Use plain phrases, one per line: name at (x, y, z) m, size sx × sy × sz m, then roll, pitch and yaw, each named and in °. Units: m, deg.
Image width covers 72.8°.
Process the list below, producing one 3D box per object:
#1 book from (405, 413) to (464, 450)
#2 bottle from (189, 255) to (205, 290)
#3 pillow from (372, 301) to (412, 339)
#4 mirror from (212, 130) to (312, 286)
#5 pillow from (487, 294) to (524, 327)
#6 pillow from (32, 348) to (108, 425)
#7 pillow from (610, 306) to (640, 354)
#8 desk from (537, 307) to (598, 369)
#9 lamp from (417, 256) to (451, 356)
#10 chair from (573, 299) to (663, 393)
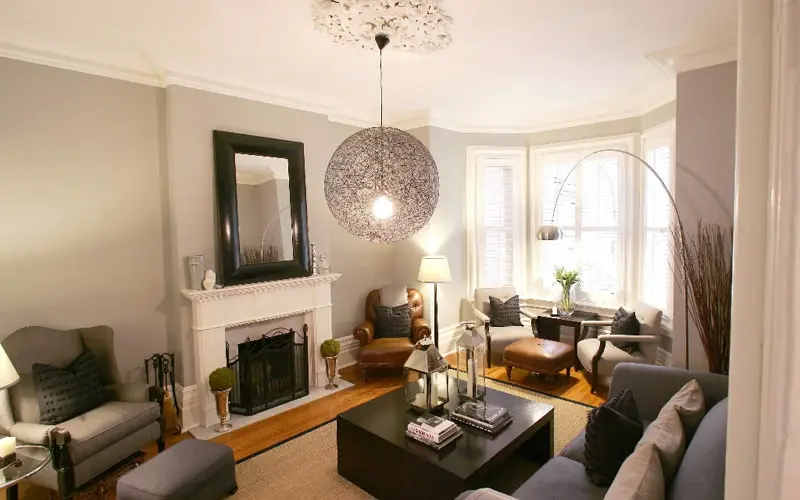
book at (0.324, 1.571, 4.793) m, size 0.278 × 0.073 × 0.312 m, roll 6°, pitch 9°, yaw 44°
bottle at (-2.221, 0.249, 5.915) m, size 0.176 × 0.302 × 0.106 m, roll -3°, pitch 2°, yaw -23°
pillow at (-0.097, 0.943, 7.141) m, size 0.436 × 0.407 × 0.167 m, roll 0°, pitch -15°, yaw 0°
mirror at (-1.591, -0.483, 6.353) m, size 1.113 × 1.312 × 0.101 m, roll -3°, pitch 2°, yaw -39°
pillow at (1.414, 0.837, 7.406) m, size 0.409 × 0.380 × 0.157 m, roll 1°, pitch -19°, yaw -3°
pillow at (-3.154, 1.311, 5.126) m, size 0.231 × 0.590 × 0.614 m, roll -24°, pitch -10°, yaw 30°
pillow at (2.650, 0.963, 6.365) m, size 0.255 × 0.444 × 0.483 m, roll -10°, pitch -2°, yaw -1°
desk at (2.175, 1.028, 7.252) m, size 0.660 × 0.843 × 0.890 m, roll -13°, pitch 14°, yaw -42°
lamp at (0.479, 0.719, 7.190) m, size 0.403 × 1.279 × 0.613 m, roll -2°, pitch 1°, yaw 5°
chair at (2.720, 1.128, 6.769) m, size 1.059 × 1.245 × 0.925 m, roll 0°, pitch 0°, yaw -1°
